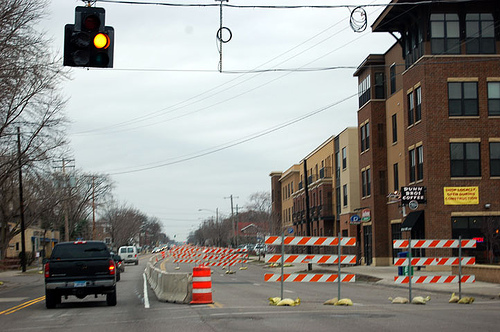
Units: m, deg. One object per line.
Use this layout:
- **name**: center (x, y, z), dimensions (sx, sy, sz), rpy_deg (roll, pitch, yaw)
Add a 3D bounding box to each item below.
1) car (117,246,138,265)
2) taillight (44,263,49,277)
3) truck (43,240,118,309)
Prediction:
- **car**: center (-13.311, 10.015, 81.392), dimensions (2.238, 2.213, 4.028), rpy_deg (0, 0, -1)
- **taillight**: center (-10.140, 5.196, 37.747), dimensions (0.194, 0.690, 0.194), rpy_deg (4, -11, -14)
- **truck**: center (-8.542, 5.234, 38.068), dimensions (2.236, 2.117, 4.529), rpy_deg (0, -3, -7)
